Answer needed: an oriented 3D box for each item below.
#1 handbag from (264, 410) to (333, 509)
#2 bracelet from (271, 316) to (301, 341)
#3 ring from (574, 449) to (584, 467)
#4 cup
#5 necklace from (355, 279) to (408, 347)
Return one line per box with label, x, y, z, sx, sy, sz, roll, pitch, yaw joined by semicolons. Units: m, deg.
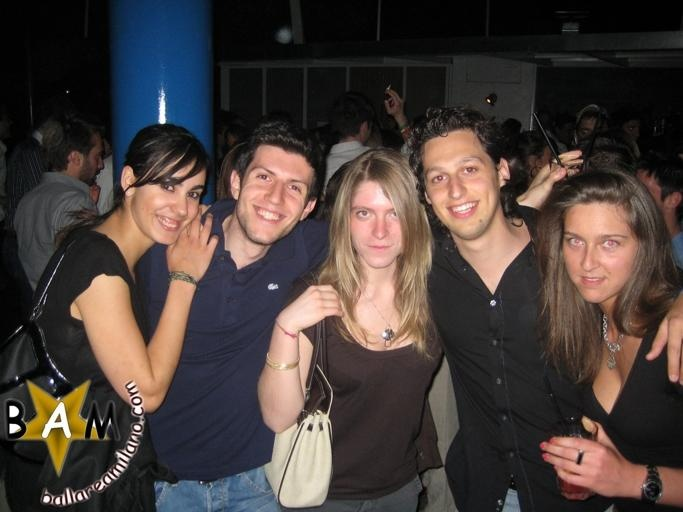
handbag;-0.230;1.153;3.156;0.256;0.489;0.501;20;1;-25
bracelet;-0.314;0.418;3.152;0.129;0.107;0.058;0;7;-8
ring;1.229;1.043;2.858;0.037;0.075;0.013;1;7;7
cup;1.263;1.124;2.990;0.243;0.533;0.152;-6;10;-42
necklace;0.224;0.373;3.432;0.258;0.444;0.116;2;-8;-15
